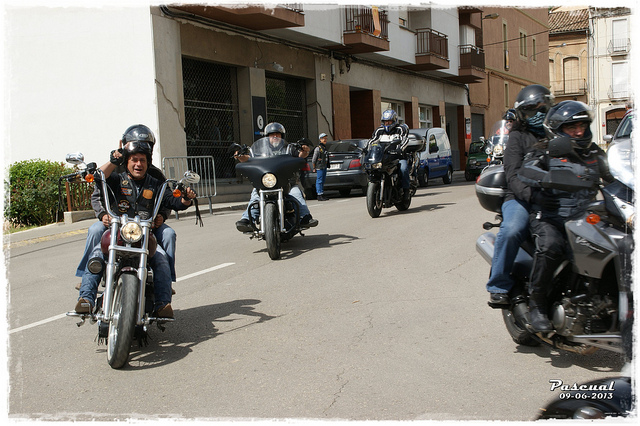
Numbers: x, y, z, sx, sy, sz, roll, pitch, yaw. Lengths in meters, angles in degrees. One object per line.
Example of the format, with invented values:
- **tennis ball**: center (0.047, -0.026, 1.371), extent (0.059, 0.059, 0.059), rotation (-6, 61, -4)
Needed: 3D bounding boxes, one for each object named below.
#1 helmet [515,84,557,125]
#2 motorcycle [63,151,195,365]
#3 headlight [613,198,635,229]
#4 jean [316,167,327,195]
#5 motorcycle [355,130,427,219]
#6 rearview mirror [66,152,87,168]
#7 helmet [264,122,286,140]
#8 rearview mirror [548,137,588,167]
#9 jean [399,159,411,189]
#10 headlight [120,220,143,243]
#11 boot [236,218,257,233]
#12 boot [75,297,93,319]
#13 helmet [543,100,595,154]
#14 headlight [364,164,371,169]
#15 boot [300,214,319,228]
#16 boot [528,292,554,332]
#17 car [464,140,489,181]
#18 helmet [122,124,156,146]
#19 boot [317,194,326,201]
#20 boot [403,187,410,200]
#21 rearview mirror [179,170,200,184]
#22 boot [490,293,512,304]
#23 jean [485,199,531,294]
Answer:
- **helmet**: center (2.216, -1.177, 5.532), extent (0.365, 0.415, 0.433), rotation (-22, -1, 25)
- **motorcycle**: center (-1.991, 0.408, 5.613), extent (1.110, 2.159, 1.167), rotation (-6, 9, -21)
- **headlight**: center (2.428, -0.010, 4.187), extent (0.068, 0.217, 0.196), rotation (-5, 9, -13)
- **jean**: center (0.018, -1.159, 18.729), extent (0.325, 0.945, 0.423), rotation (-3, 8, 0)
- **motorcycle**: center (1.873, -1.066, 14.008), extent (1.369, 2.053, 3.225), rotation (0, 7, 30)
- **rearview mirror**: center (-2.595, -0.583, 5.622), extent (0.126, 0.083, 0.177), rotation (-1, -14, 10)
- **helmet**: center (-0.853, -1.549, 9.849), extent (0.263, 0.293, 0.341), rotation (-1, 0, -6)
- **rearview mirror**: center (2.198, -0.582, 4.682), extent (0.379, 0.249, 0.301), rotation (2, -3, 17)
- **jean**: center (2.184, -1.020, 13.734), extent (0.203, 0.795, 0.498), rotation (0, 9, 20)
- **headlight**: center (-1.947, 0.185, 5.435), extent (0.218, 0.209, 0.099), rotation (-6, 9, -20)
- **boot**: center (-1.375, 0.221, 9.517), extent (0.136, 0.166, 0.386), rotation (-1, 0, 17)
- **boot**: center (-2.444, 0.969, 5.455), extent (0.116, 0.164, 0.142), rotation (-7, -2, 0)
- **helmet**: center (2.307, -0.856, 4.952), extent (0.378, 0.460, 0.515), rotation (-12, 25, -22)
- **headlight**: center (1.146, -1.171, 12.900), extent (0.134, 0.143, 0.033), rotation (3, 5, 41)
- **boot**: center (-0.213, 0.142, 9.858), extent (0.153, 0.191, 0.422), rotation (-2, -4, -33)
- **boot**: center (2.039, 0.924, 4.893), extent (0.147, 0.328, 0.438), rotation (3, 2, 4)
- **car**: center (8.225, -2.957, 27.713), extent (1.597, 1.880, 3.166), rotation (2, 12, 9)
- **helmet**: center (-2.053, -0.900, 5.949), extent (0.251, 0.269, 0.296), rotation (1, 10, -20)
- **boot**: center (0.002, -0.577, 18.755), extent (0.337, 0.249, 0.131), rotation (-6, 14, -17)
- **boot**: center (2.292, -0.533, 14.058), extent (0.126, 0.342, 0.334), rotation (0, 9, 22)
- **rearview mirror**: center (-1.435, -0.382, 5.724), extent (0.142, 0.041, 0.153), rotation (11, 35, 10)
- **boot**: center (1.789, 0.847, 5.223), extent (0.177, 0.079, 0.085), rotation (1, -9, 32)
- **jean**: center (1.875, 0.332, 5.253), extent (0.382, 0.910, 0.306), rotation (-9, 10, -34)
